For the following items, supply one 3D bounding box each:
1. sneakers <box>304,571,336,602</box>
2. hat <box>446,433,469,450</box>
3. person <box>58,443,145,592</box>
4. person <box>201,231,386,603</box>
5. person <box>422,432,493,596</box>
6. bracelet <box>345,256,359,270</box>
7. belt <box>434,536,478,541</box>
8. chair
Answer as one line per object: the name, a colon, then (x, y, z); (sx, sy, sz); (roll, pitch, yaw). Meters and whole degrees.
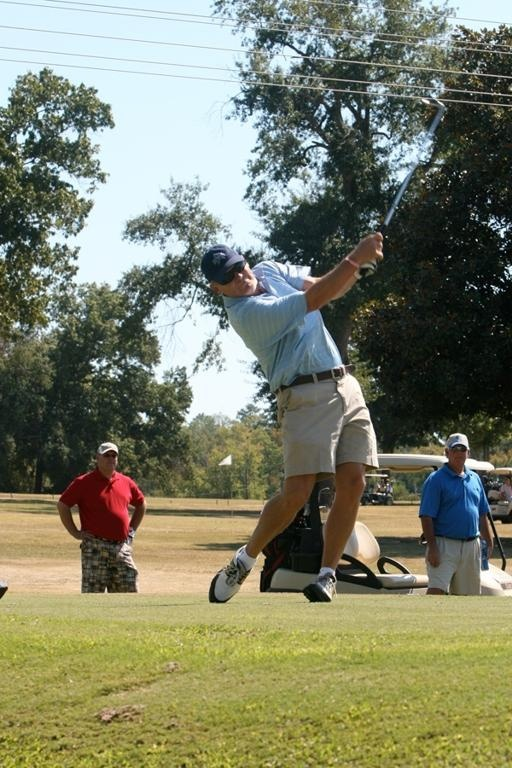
sneakers: (0.286, 0.935, 5.125); (0.070, 0.093, 0.194); (11, -15, 13)
hat: (1.409, 0.387, 7.817); (0.119, 0.091, 0.177); (4, -15, 0)
person: (-1.172, 0.974, 8.372); (0.608, 1.074, 0.835); (3, -4, -9)
person: (0.151, 0.154, 5.135); (0.804, 1.717, 0.686); (2, -4, 5)
person: (1.334, 0.869, 7.616); (0.449, 1.093, 0.761); (2, -4, 9)
bracelet: (0.415, -0.526, 4.895); (0.021, 0.054, 0.058); (-42, -18, -2)
belt: (1.343, 1.022, 7.451); (0.291, 0.031, 0.072); (3, -4, -16)
chair: (0.970, 1.323, 8.636); (0.647, 0.489, 0.791); (5, -7, 23)
